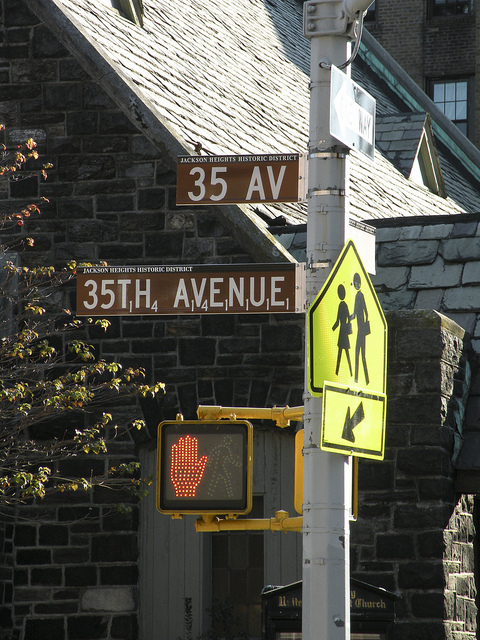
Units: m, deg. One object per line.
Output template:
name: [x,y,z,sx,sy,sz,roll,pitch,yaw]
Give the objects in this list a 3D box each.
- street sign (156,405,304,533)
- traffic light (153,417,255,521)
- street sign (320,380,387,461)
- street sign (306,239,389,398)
street sign: [-0.066,1.033,13.543,1.005,1.117,0.420,-2,-8,8]
traffic light: [-0.241,0.860,12.670,0.626,0.755,0.431,2,31,1]
street sign: [0.707,0.638,12.126,0.530,0.428,0.008,11,-9,-38]
street sign: [0.647,0.017,12.237,0.018,1.080,0.724,-14,-23,40]
